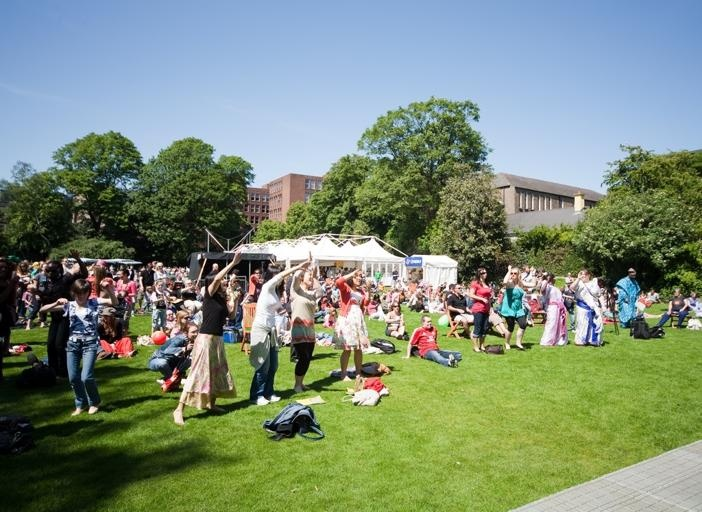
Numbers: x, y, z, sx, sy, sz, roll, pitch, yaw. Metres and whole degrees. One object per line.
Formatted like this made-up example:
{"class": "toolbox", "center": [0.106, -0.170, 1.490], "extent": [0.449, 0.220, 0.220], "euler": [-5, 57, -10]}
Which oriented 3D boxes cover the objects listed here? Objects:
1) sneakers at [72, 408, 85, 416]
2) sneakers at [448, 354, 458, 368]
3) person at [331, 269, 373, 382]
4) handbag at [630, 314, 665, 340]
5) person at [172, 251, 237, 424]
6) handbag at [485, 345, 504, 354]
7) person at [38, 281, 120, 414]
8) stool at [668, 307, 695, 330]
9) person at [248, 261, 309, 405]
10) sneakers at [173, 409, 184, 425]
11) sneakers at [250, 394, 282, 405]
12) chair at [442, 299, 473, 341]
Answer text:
{"class": "sneakers", "center": [-4.604, 2.622, 7.967], "extent": [0.087, 0.092, 0.229], "euler": [-5, -10, 11]}
{"class": "sneakers", "center": [2.433, 2.506, 11.239], "extent": [0.131, 0.367, 0.155], "euler": [6, -14, -7]}
{"class": "person", "center": [0.040, 1.365, 9.442], "extent": [0.720, 2.158, 0.927], "euler": [-2, -4, 43]}
{"class": "handbag", "center": [9.501, 2.312, 15.127], "extent": [0.839, 0.391, 0.701], "euler": [1, -5, -4]}
{"class": "person", "center": [-2.346, 1.332, 7.723], "extent": [0.988, 2.793, 0.577], "euler": [0, 6, -15]}
{"class": "handbag", "center": [3.818, 2.469, 12.526], "extent": [0.496, 0.194, 0.389], "euler": [3, 5, 17]}
{"class": "person", "center": [-4.745, 1.493, 8.212], "extent": [0.639, 2.267, 1.315], "euler": [-2, 7, -33]}
{"class": "stool", "center": [12.595, 2.387, 18.001], "extent": [0.600, 0.793, 0.656], "euler": [3, -7, -18]}
{"class": "person", "center": [-1.478, 1.458, 8.449], "extent": [0.677, 2.423, 0.504], "euler": [-1, 6, -20]}
{"class": "sneakers", "center": [-2.830, 2.598, 7.751], "extent": [0.170, 0.232, 0.376], "euler": [-1, 6, -22]}
{"class": "sneakers", "center": [-1.549, 2.620, 8.597], "extent": [0.501, 0.216, 0.183], "euler": [-6, -6, 24]}
{"class": "chair", "center": [3.762, 2.097, 15.239], "extent": [0.906, 1.240, 0.955], "euler": [2, -6, -31]}
